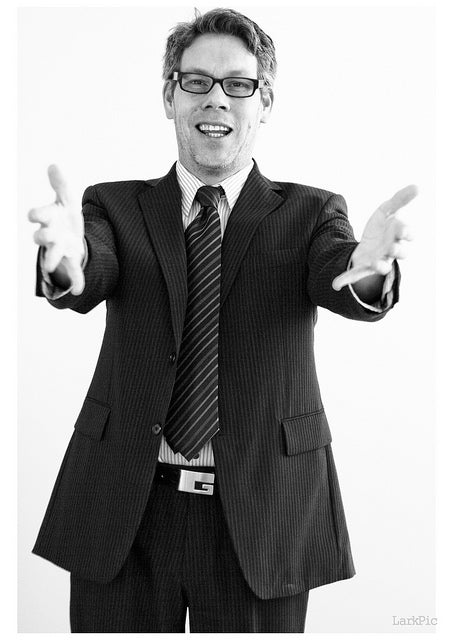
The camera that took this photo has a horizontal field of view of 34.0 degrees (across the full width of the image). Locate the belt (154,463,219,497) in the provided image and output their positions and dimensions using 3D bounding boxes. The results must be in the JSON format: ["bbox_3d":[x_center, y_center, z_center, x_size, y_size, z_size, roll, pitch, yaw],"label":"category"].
[{"bbox_3d":[-0.108,0.399,1.863,0.110,0.051,0.089,11,-4,20],"label":"belt"}]

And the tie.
[{"bbox_3d":[-0.075,0.019,1.878,0.095,0.655,0.131,9,-11,-41],"label":"tie"}]
